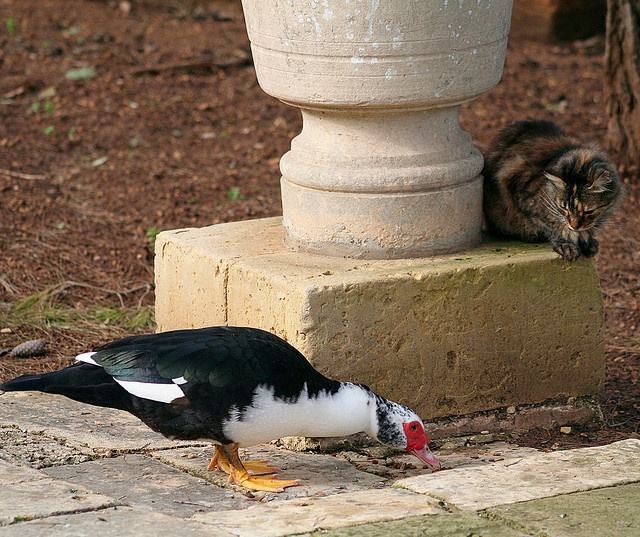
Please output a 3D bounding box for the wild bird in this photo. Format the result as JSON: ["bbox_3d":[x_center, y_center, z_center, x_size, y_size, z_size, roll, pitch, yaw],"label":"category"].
[{"bbox_3d":[-0.414,0.611,5.574,2.546,0.660,0.688,11,15,-12],"label":"wild bird"}]

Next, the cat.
[{"bbox_3d":[1.427,-0.481,6.573,0.839,0.507,0.975,-9,30,-2],"label":"cat"}]
